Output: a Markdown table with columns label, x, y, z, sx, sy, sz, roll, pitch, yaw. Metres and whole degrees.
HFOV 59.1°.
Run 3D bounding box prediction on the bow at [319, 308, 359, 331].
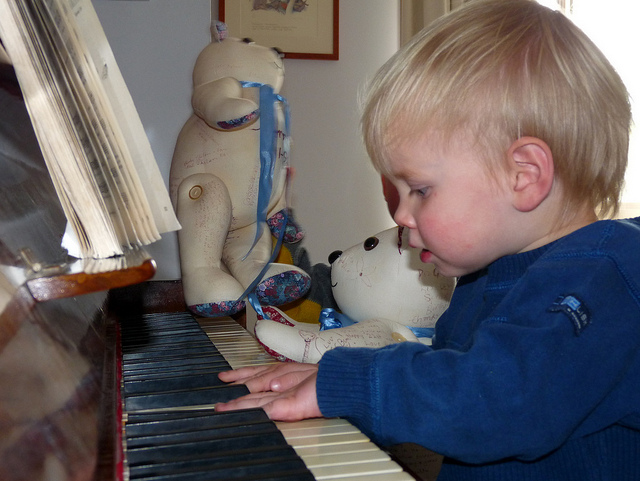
| label | x | y | z | sx | sy | sz | roll | pitch | yaw |
| --- | --- | --- | --- | --- | --- | --- | --- | --- | --- |
| bow | 0.038 | 0.183 | 1.343 | 0.064 | 0.037 | 0.049 | -9 | 0 | -1 |

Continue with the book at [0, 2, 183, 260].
| label | x | y | z | sx | sy | sz | roll | pitch | yaw |
| --- | --- | --- | --- | --- | --- | --- | --- | --- | --- |
| book | -0.253 | -0.118 | 0.633 | 0.138 | 0.285 | 0.225 | -15 | 32 | -24 |

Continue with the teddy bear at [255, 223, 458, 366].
| label | x | y | z | sx | sy | sz | roll | pitch | yaw |
| --- | --- | --- | --- | --- | --- | --- | --- | --- | --- |
| teddy bear | 0.094 | 0.134 | 1.380 | 0.490 | 0.326 | 0.345 | 1 | 16 | 1 |

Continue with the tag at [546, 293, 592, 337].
| label | x | y | z | sx | sy | sz | roll | pitch | yaw |
| --- | --- | --- | --- | --- | --- | --- | --- | --- | --- |
| tag | 0.319 | 0.086 | 0.704 | 0.049 | 0.043 | 0.077 | 12 | 20 | 23 |
